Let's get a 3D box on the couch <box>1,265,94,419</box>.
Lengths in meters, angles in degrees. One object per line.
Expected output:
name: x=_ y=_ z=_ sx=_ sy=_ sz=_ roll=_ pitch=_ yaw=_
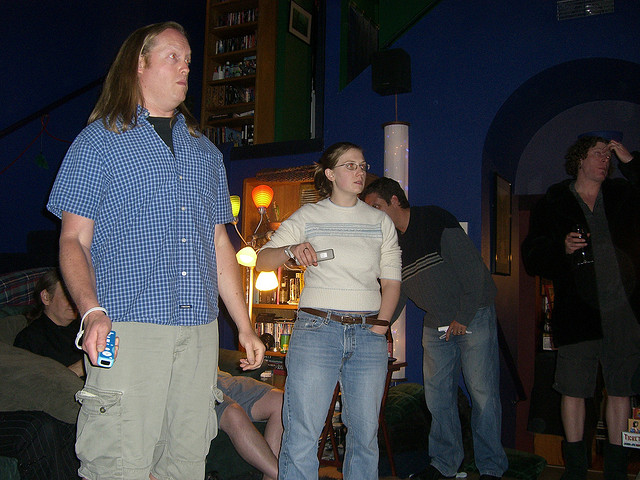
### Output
couch: x=-1.549 y=0.612 z=3.042 sx=0.548 sy=0.821 sz=0.223 roll=9 pitch=11 yaw=33

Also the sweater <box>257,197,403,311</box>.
sweater: x=0.067 y=0.087 z=2.907 sx=0.753 sy=0.670 sz=0.297 roll=-1 pitch=-8 yaw=-1

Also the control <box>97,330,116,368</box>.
control: x=-0.757 y=0.386 z=1.900 sx=0.056 sy=0.041 sz=0.188 roll=17 pitch=16 yaw=-26

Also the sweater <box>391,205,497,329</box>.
sweater: x=0.777 y=0.223 z=3.855 sx=0.807 sy=0.803 sz=0.495 roll=-22 pitch=5 yaw=42

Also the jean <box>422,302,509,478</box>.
jean: x=0.999 y=1.067 z=3.775 sx=0.417 sy=1.211 sz=0.459 roll=3 pitch=-7 yaw=-30

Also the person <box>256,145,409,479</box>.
person: x=0.081 y=0.341 z=2.866 sx=0.696 sy=1.770 sz=0.328 roll=2 pitch=-6 yaw=-21

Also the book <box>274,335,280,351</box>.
book: x=-0.416 y=0.971 z=5.015 sx=0.085 sy=0.109 sz=0.089 roll=0 pitch=-1 yaw=-10

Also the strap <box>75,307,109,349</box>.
strap: x=-0.828 y=0.325 z=1.927 sx=0.098 sy=0.180 sz=0.032 roll=17 pitch=13 yaw=-21

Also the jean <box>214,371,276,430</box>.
jean: x=-0.518 y=0.973 z=3.279 sx=0.370 sy=0.280 sz=0.442 roll=4 pitch=-7 yaw=-31

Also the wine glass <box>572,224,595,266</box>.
wine glass: x=1.749 y=0.030 z=3.584 sx=0.110 sy=0.279 sz=0.229 roll=-4 pitch=-7 yaw=32
